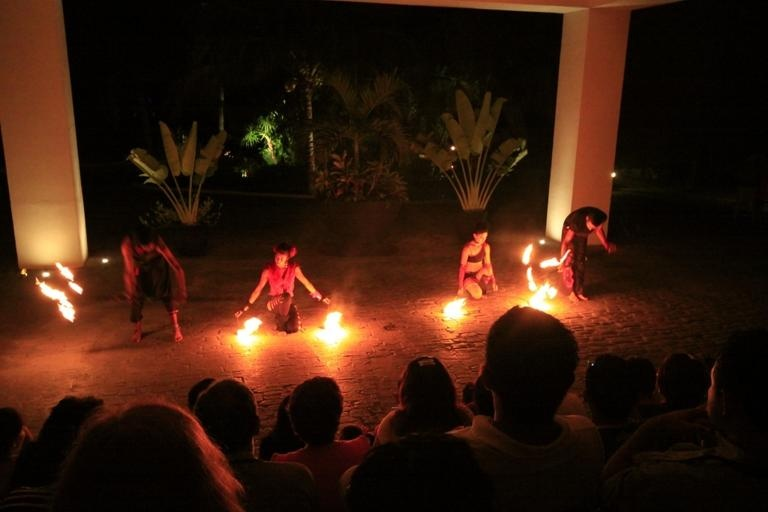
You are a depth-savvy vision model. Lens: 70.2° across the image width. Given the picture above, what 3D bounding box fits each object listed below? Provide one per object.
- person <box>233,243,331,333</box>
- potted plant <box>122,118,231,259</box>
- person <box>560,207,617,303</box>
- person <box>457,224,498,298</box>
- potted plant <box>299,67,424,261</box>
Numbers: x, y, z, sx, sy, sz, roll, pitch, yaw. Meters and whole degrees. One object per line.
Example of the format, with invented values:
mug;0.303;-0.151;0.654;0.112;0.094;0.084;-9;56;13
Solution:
person;-1.775;0.585;9.481;1.372;1.130;0.729;-3;14;-21
potted plant;-4.572;-1.560;12.538;2.651;2.947;2.324;3;-5;11
person;3.844;0.014;10.353;1.146;1.912;0.819;-23;49;0
person;1.640;0.084;9.818;0.511;1.350;0.531;0;7;27
potted plant;-1.001;-3.229;15.604;2.438;3.739;2.594;11;19;10
